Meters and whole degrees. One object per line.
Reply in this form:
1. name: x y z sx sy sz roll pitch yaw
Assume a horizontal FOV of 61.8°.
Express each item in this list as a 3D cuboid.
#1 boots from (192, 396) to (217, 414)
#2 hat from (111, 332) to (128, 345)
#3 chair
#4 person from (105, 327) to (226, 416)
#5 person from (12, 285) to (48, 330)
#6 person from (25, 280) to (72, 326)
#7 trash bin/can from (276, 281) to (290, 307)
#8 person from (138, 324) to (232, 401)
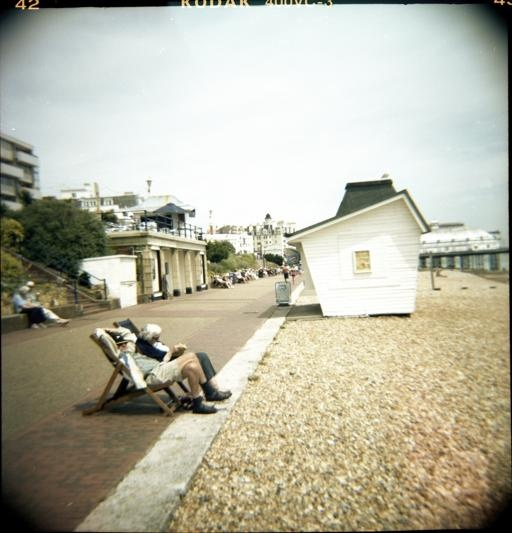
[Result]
1. boots: -0.584 1.616 5.000 0.325 0.231 0.140 -2 -2 2
2. hat: -1.672 0.889 5.246 0.085 0.148 0.103 -45 -10 17
3. chair: -1.387 1.225 5.255 1.130 1.195 0.927 1 -1 5
4. person: -0.993 1.170 5.135 1.277 1.029 0.587 -4 3 12
5. person: -6.749 1.140 12.794 0.821 1.466 0.572 -3 -15 -36
6. person: -6.401 1.064 12.989 1.864 1.128 0.656 18 10 21
7. trash bin/can: 1.067 1.091 16.567 0.541 0.937 0.846 -2 1 7
8. person: -0.945 1.191 5.237 0.891 1.198 0.466 -17 -7 13
